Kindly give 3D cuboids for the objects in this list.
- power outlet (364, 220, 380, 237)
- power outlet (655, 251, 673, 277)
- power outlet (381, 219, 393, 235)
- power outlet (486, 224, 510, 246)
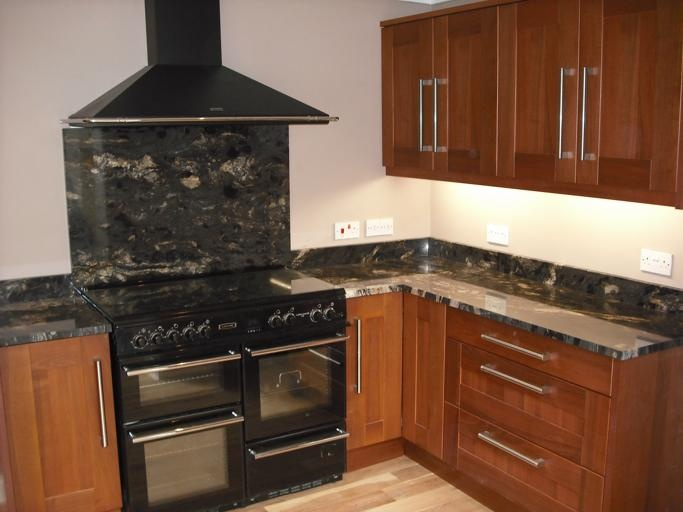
[{"bbox_3d":[0.197,-0.189,3.949,0.114,0.094,0.012,-8,13,-35],"label":"power outlet"},{"bbox_3d":[1.553,0.032,2.865,0.015,0.135,0.108,-11,16,-27],"label":"power outlet"},{"bbox_3d":[0.302,-0.201,3.997,0.105,0.110,0.012,-7,14,-33],"label":"power outlet"},{"bbox_3d":[0.969,-0.132,3.683,0.017,0.136,0.175,-11,11,-33],"label":"power outlet"}]
